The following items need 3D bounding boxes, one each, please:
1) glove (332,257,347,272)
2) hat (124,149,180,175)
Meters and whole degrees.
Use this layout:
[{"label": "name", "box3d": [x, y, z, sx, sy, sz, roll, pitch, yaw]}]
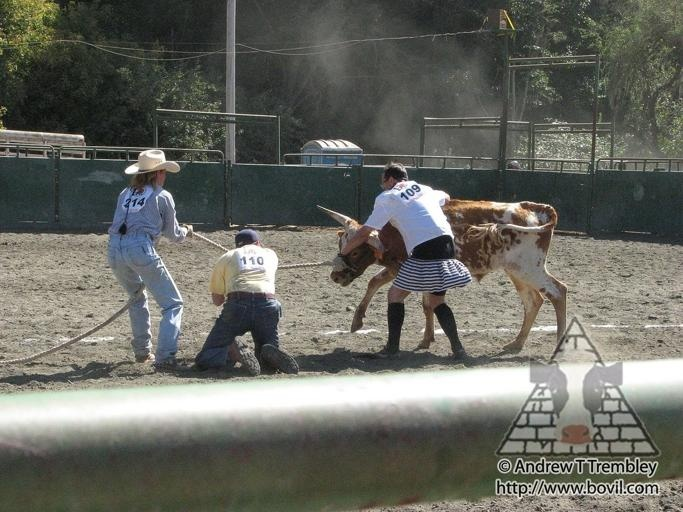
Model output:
[{"label": "glove", "box3d": [-0.028, 0.205, 29.626, 0.277, 0.364, 0.360, 1, -10, 4]}, {"label": "hat", "box3d": [-4.426, -2.099, 29.155, 0.840, 0.312, 0.790, -4, 6, 27]}]
